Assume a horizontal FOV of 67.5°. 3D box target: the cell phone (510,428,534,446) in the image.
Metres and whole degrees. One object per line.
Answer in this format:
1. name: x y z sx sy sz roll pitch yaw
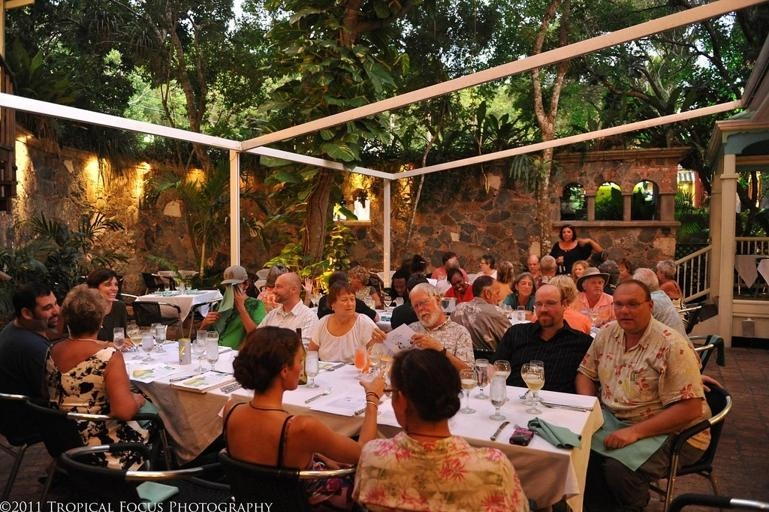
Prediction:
1. cell phone: 0.973 1.279 4.112 0.091 0.030 0.132 3 10 24

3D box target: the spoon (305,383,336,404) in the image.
1. spoon: -0.543 1.122 4.800 0.063 0.057 0.402 2 6 14

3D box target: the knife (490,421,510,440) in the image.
1. knife: 0.835 1.243 4.216 0.057 0.042 0.332 -1 6 26

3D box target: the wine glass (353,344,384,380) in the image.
1. wine glass: -0.136 0.897 4.990 0.293 0.257 0.339 0 -5 -1

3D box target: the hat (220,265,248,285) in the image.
1. hat: -1.668 0.201 6.463 0.178 0.150 0.268 -1 -5 7

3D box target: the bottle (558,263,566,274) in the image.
1. bottle: 2.905 0.187 9.441 0.183 0.172 0.109 2 -1 24

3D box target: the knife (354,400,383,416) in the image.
1. knife: -0.116 1.170 4.507 0.232 0.087 0.220 1 -3 0
